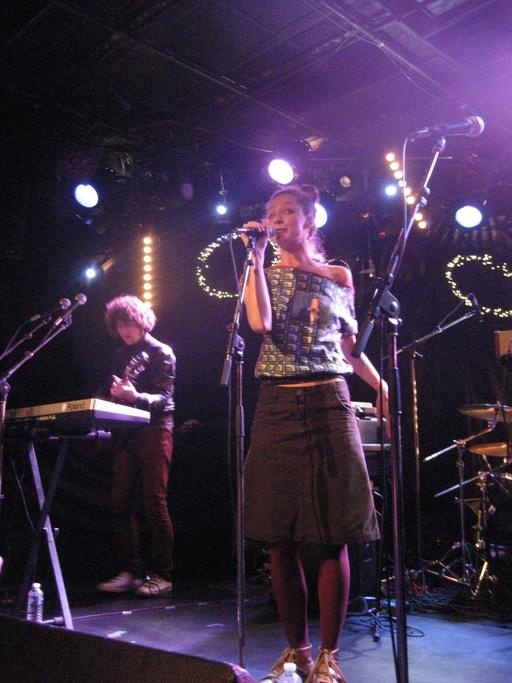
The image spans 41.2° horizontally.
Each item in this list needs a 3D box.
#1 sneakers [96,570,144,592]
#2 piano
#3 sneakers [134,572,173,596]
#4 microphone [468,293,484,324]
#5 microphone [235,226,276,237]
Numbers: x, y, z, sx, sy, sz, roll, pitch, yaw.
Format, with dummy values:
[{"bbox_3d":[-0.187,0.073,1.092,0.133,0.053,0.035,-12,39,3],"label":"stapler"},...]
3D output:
[{"bbox_3d":[-0.881,1.512,4.293,0.311,0.115,0.106,22,-27,-34],"label":"sneakers"},{"bbox_3d":[-0.881,0.360,3.183,0.681,0.165,0.481,1,-8,-2],"label":"piano"},{"bbox_3d":[-0.633,1.539,4.272,0.141,0.119,0.273,-2,-9,15],"label":"sneakers"},{"bbox_3d":[1.779,-0.271,5.471,0.157,0.057,0.494,-31,6,24],"label":"microphone"},{"bbox_3d":[-0.004,-0.423,2.648,0.201,0.046,0.047,-2,-11,-16],"label":"microphone"}]
